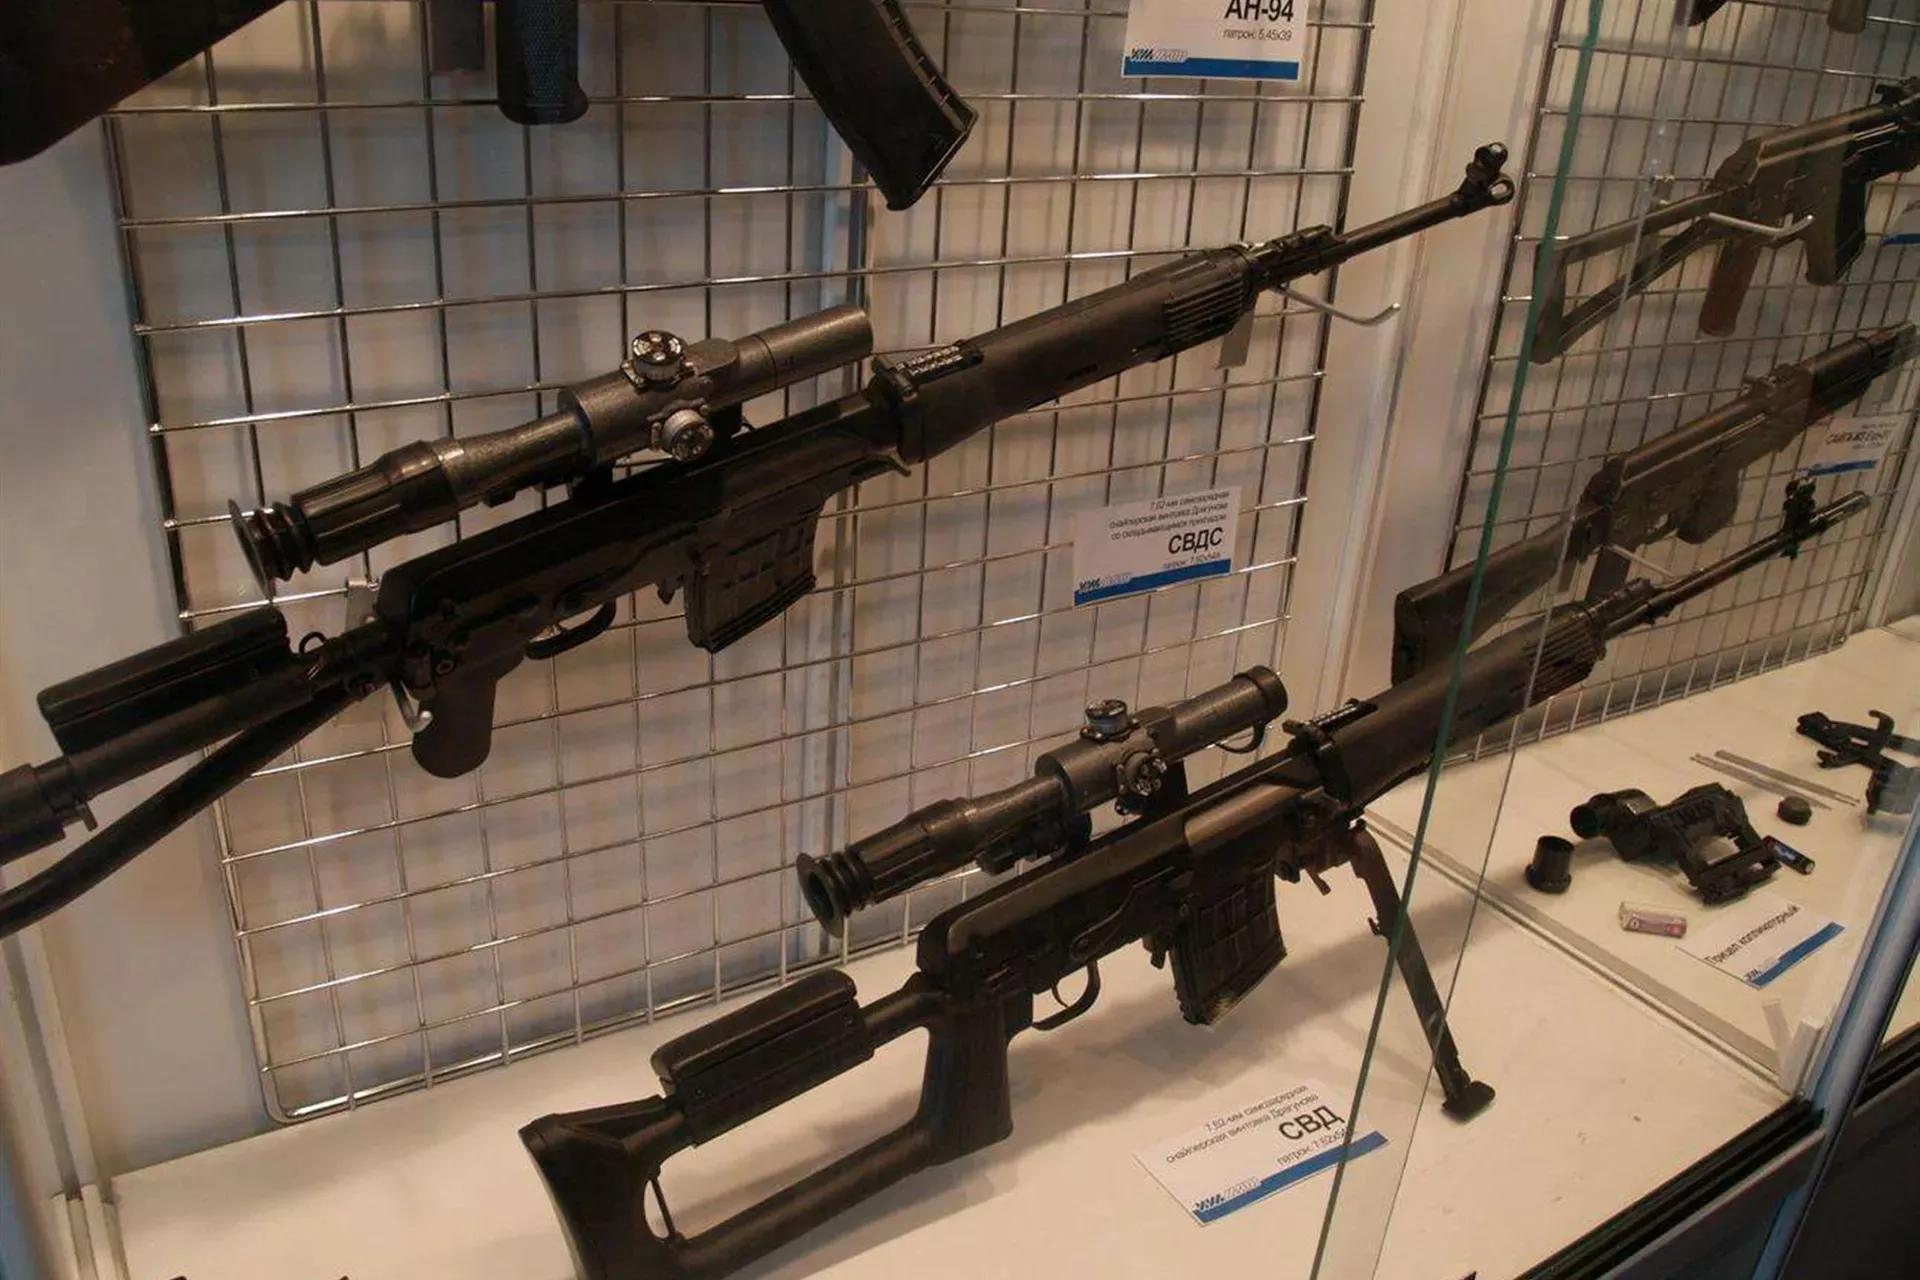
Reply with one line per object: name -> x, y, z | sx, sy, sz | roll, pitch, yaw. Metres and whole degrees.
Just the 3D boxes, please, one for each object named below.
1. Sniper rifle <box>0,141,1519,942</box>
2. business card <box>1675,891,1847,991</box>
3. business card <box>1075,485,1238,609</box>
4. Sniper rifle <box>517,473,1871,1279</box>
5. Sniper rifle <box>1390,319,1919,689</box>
Sniper rifle -> -0.236, -0.093, 1.514 | 1.723, 0.142, 0.516 | -21, -44, -24
business card -> 0.774, 0.290, 1.512 | 0.167, 0.008, 0.117 | -15, -54, -31
business card -> 0.232, -0.111, 1.780 | 0.214, 0.004, 0.121 | -12, -61, -10
Sniper rifle -> 0.212, 0.256, 1.515 | 1.179, 0.324, 0.470 | -24, -53, -12
Sniper rifle -> 0.623, -0.117, 1.275 | 0.725, 0.151, 0.128 | -13, -42, -24
